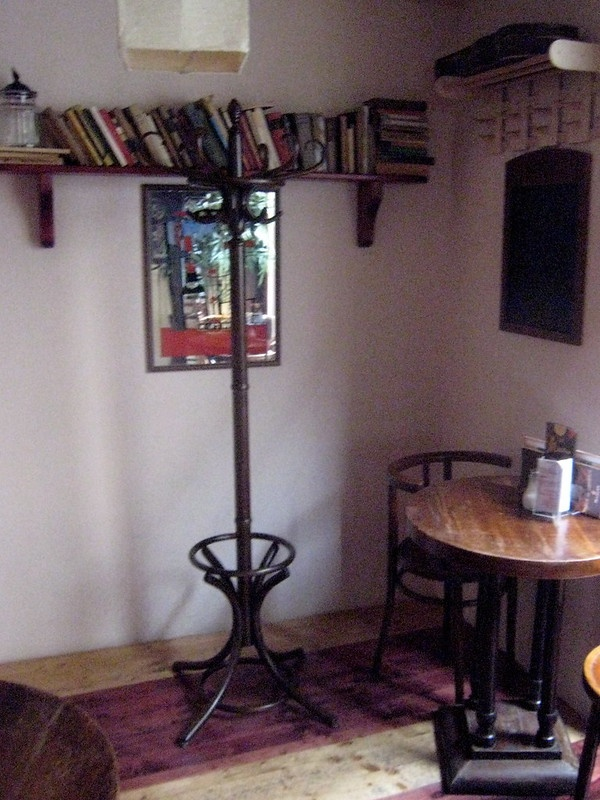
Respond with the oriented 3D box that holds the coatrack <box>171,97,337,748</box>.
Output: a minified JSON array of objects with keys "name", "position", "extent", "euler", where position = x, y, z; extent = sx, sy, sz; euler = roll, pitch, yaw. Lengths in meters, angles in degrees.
[{"name":"coatrack","position":[-0.207,0.055,2.625],"extent":[0.519,2.123,0.782],"euler":[-3,12,-11]}]
